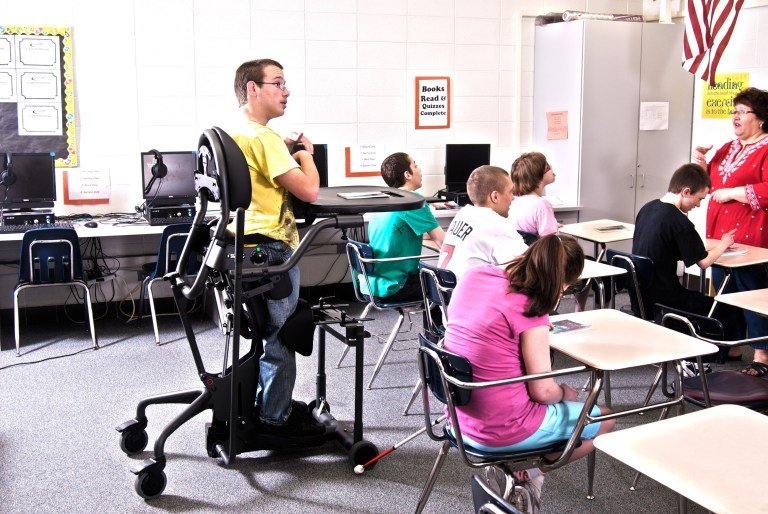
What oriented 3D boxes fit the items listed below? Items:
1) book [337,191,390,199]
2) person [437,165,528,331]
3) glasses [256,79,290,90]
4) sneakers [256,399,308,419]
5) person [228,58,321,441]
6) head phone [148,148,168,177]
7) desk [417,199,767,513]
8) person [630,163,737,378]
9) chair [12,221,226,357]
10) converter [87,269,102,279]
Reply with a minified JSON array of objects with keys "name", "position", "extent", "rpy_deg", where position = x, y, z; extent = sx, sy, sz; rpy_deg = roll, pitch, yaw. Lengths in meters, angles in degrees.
[{"name":"book","position":[-0.110,-0.307,2.787],"extent":[0.303,0.016,0.171],"rpy_deg":[4,16,18]},{"name":"person","position":[0.675,-0.094,3.612],"extent":[0.598,0.946,0.838],"rpy_deg":[-6,17,-9]},{"name":"glasses","position":[-0.558,-0.885,2.860],"extent":[0.157,0.049,0.058],"rpy_deg":[-15,20,-42]},{"name":"sneakers","position":[-0.539,0.896,3.263],"extent":[0.179,0.067,0.133],"rpy_deg":[1,2,-42]},{"name":"person","position":[-0.539,0.017,2.987],"extent":[0.431,2.074,0.526],"rpy_deg":[-4,15,-14]},{"name":"head phone","position":[-2.065,-0.859,5.125],"extent":[0.128,0.258,0.150],"rpy_deg":[-3,15,-7]},{"name":"desk","position":[0.677,0.273,2.568],"extent":[0.883,1.536,0.697],"rpy_deg":[-9,16,-29]},{"name":"person","position":[2.148,0.051,4.018],"extent":[0.751,1.422,0.600],"rpy_deg":[-14,23,-7]},{"name":"chair","position":[-2.488,0.162,5.025],"extent":[1.450,1.048,0.980],"rpy_deg":[-5,15,-15]},{"name":"converter","position":[-2.687,0.166,5.197],"extent":[0.117,0.033,0.124],"rpy_deg":[-4,13,-35]}]
